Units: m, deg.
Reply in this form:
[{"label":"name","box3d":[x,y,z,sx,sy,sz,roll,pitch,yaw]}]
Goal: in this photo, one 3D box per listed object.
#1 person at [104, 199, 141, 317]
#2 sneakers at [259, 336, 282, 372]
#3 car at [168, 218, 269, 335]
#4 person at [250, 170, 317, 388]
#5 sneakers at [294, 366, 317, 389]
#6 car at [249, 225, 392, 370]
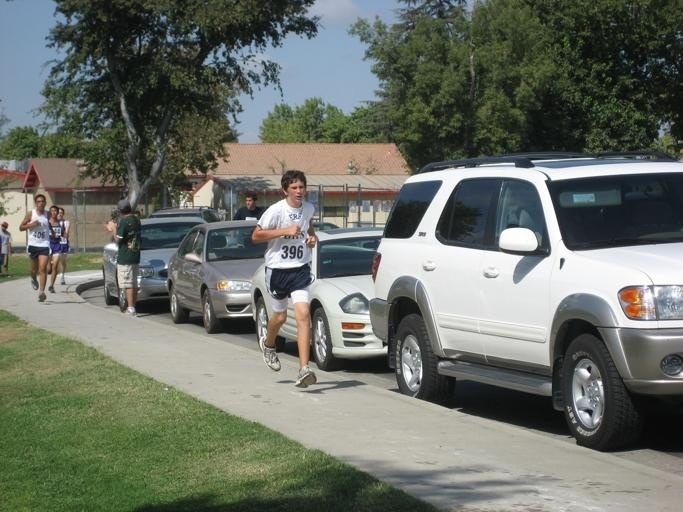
[{"label":"person","box3d":[-4.632,0.021,16.251,0.533,2.501,1.264,0,0,-17]},{"label":"sneakers","box3d":[-0.938,1.291,9.827,0.178,0.520,0.195,-16,-12,-35]},{"label":"car","box3d":[-2.431,0.324,15.028,1.449,1.284,2.583,0,-1,-24]},{"label":"person","box3d":[-0.661,0.230,8.873,0.730,2.576,1.209,0,0,-5]},{"label":"sneakers","box3d":[-0.407,1.380,8.478,0.129,0.163,0.328,4,-17,-16]},{"label":"car","box3d":[-0.002,0.559,11.165,1.236,1.289,2.478,-1,0,-27]}]
